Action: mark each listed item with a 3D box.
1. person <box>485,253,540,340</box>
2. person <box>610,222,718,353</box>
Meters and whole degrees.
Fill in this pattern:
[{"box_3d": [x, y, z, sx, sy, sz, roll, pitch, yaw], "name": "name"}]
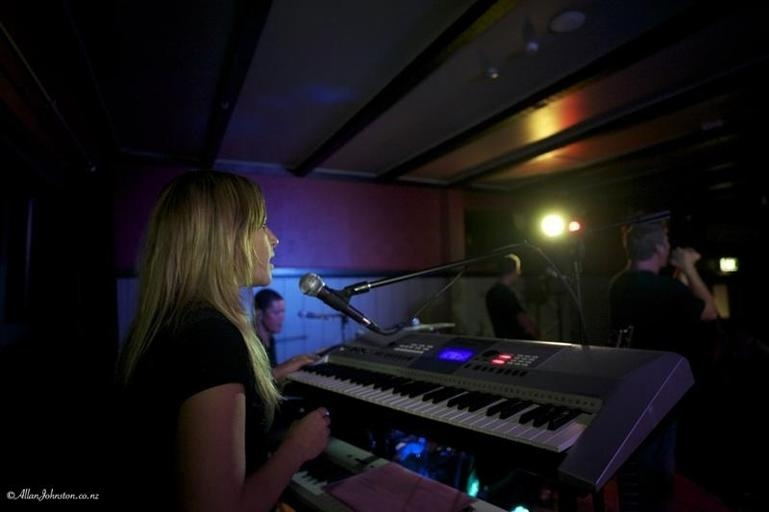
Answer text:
[{"box_3d": [1.211, 0.428, 5.202, 0.450, 0.777, 0.480, 0, -2, 13], "name": "person"}, {"box_3d": [2.191, 0.243, 4.272, 0.742, 1.042, 0.250, 0, -2, 19], "name": "person"}]
